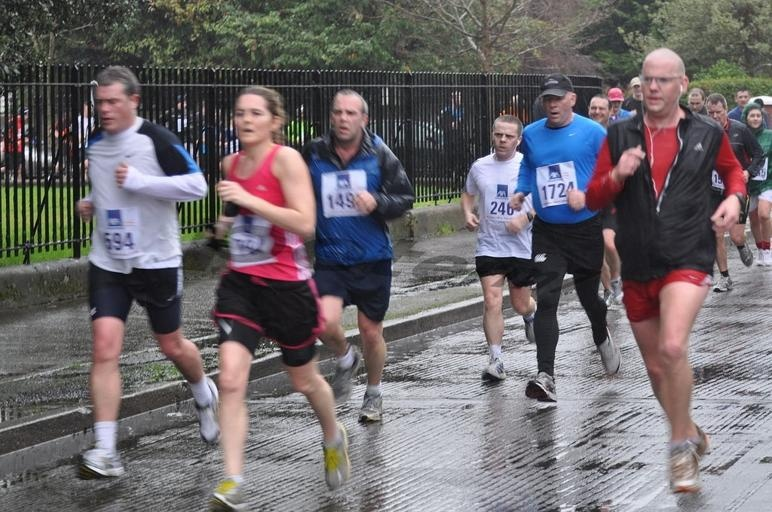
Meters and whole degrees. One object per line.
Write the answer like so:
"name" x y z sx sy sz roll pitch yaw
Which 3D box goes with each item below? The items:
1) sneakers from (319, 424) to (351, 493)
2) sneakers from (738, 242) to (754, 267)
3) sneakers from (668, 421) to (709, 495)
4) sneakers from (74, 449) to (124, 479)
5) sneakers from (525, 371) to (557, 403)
"sneakers" -0.322 1.326 5.022 0.139 0.457 0.179 -9 -21 23
"sneakers" 6.004 -0.006 13.032 0.118 0.373 0.159 -10 19 36
"sneakers" 1.872 1.221 4.831 0.161 0.201 0.488 -8 34 31
"sneakers" -1.779 1.316 4.943 0.142 0.181 0.375 2 0 21
"sneakers" 1.290 1.104 6.506 0.152 0.195 0.377 -5 -17 22
